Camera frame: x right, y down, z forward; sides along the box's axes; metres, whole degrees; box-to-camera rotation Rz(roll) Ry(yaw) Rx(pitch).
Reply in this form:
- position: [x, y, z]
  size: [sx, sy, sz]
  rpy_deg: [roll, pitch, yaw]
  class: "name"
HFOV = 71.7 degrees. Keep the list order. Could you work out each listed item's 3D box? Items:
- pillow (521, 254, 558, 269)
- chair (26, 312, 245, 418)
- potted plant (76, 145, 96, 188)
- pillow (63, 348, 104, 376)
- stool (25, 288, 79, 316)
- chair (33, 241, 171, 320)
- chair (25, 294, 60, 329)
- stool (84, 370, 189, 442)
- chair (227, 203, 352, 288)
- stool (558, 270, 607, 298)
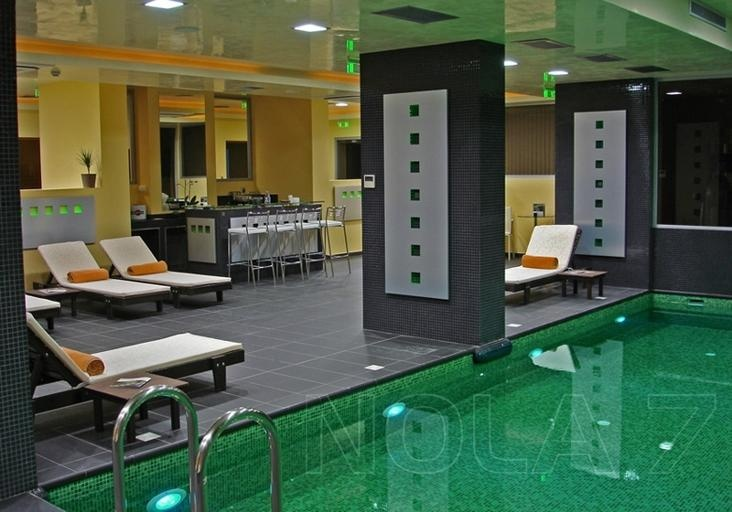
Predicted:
- position: [3.193, 0.102, 9.382]
  size: [0.634, 0.232, 0.283]
  rpy_deg: [5, 10, 22]
  class: "pillow"
- position: [-2.219, 0.959, 5.030]
  size: [1.989, 0.821, 1.035]
  rpy_deg: [-7, 10, -41]
  class: "chair"
- position: [-5.421, -1.729, 9.925]
  size: [0.290, 0.733, 0.300]
  rpy_deg: [-3, 12, -28]
  class: "potted plant"
- position: [-2.456, 0.927, 4.474]
  size: [0.276, 0.206, 0.404]
  rpy_deg: [-3, 10, -29]
  class: "pillow"
- position: [-4.964, 0.608, 8.134]
  size: [0.593, 0.371, 0.871]
  rpy_deg: [-6, 11, -44]
  class: "stool"
- position: [-4.581, 0.320, 8.645]
  size: [2.599, 0.990, 1.142]
  rpy_deg: [6, 9, 33]
  class: "chair"
- position: [-4.244, 0.708, 6.680]
  size: [0.308, 0.224, 0.795]
  rpy_deg: [-6, 10, -43]
  class: "chair"
- position: [-1.950, 1.209, 4.289]
  size: [0.629, 0.578, 0.935]
  rpy_deg: [-7, 13, -43]
  class: "stool"
- position: [-1.827, -0.230, 11.478]
  size: [0.662, 1.212, 2.276]
  rpy_deg: [10, 11, 43]
  class: "chair"
- position: [3.907, 0.410, 9.189]
  size: [0.720, 0.374, 0.719]
  rpy_deg: [3, 7, 39]
  class: "stool"
